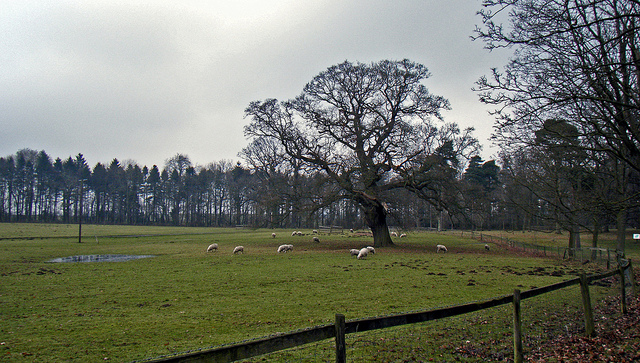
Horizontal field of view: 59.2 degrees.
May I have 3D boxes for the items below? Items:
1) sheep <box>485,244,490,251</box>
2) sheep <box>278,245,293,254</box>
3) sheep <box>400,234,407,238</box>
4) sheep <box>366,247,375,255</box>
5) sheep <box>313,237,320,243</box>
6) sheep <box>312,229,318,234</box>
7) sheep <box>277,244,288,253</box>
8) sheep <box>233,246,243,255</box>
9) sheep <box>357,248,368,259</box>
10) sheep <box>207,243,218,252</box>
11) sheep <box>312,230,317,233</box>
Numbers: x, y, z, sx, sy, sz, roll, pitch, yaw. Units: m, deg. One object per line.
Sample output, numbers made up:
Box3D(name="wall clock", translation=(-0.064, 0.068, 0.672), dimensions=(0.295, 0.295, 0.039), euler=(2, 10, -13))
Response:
Box3D(name="sheep", translation=(19.978, 7.941, 67.235), dimensions=(0.773, 0.290, 0.236), euler=(22, -35, 9))
Box3D(name="sheep", translation=(-3.754, 7.327, 61.135), dimensions=(1.238, 0.834, 1.921), euler=(-8, -8, 30))
Box3D(name="sheep", translation=(13.137, 8.578, 88.861), dimensions=(0.403, 0.755, 1.543), euler=(-6, -11, 22))
Box3D(name="sheep", translation=(5.490, 7.416, 60.286), dimensions=(0.661, 0.826, 1.693), euler=(-4, -7, 5))
Box3D(name="sheep", translation=(-0.459, 7.623, 73.952), dimensions=(0.745, 0.735, 1.838), euler=(-3, -7, 0))
Box3D(name="sheep", translation=(-0.842, 9.023, 100.821), dimensions=(1.123, 0.459, 1.455), euler=(0, -3, -9))
Box3D(name="sheep", translation=(-4.010, 7.298, 60.850), dimensions=(1.044, 0.819, 0.996), euler=(-3, -7, -5))
Box3D(name="sheep", translation=(-8.791, 7.331, 60.193), dimensions=(1.460, 0.786, 1.103), euler=(1, -8, -28))
Box3D(name="sheep", translation=(4.359, 7.304, 57.269), dimensions=(0.810, 0.992, 1.558), euler=(-9, -9, 36))
Box3D(name="sheep", translation=(-11.838, 7.271, 61.797), dimensions=(1.020, 0.828, 1.227), euler=(-2, -8, -14))
Box3D(name="sheep", translation=(-0.907, 8.995, 101.146), dimensions=(0.889, 0.380, 1.163), euler=(0, -5, -8))
